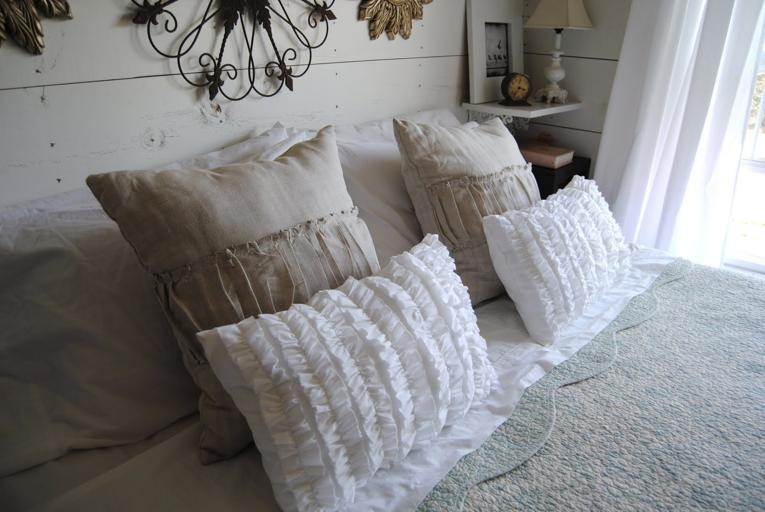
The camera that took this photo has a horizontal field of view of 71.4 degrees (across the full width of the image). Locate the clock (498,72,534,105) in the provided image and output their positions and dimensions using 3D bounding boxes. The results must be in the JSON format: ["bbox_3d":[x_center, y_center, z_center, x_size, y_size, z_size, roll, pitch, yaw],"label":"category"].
[{"bbox_3d":[0.658,-0.831,2.667,0.146,0.172,0.165,1,16,-15],"label":"clock"}]
